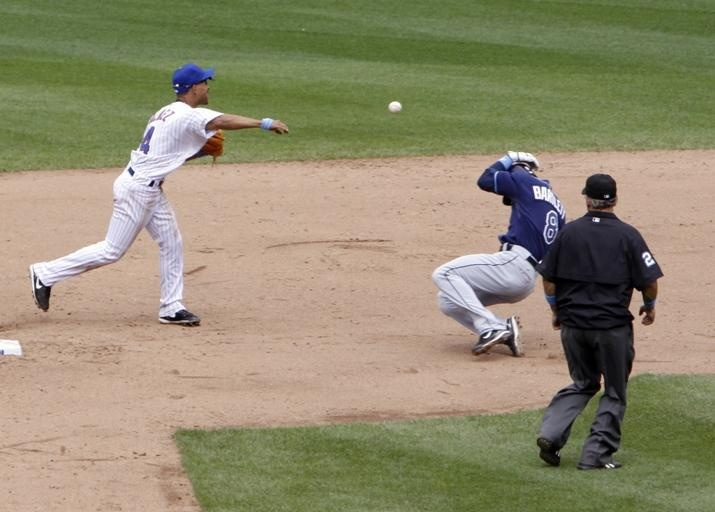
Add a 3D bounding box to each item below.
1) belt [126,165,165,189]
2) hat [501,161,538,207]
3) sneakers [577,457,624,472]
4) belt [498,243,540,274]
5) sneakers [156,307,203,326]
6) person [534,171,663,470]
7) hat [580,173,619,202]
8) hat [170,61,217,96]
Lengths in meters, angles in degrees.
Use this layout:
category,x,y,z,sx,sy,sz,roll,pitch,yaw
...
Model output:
category,x,y,z,sx,sy,sz,roll,pitch,yaw
belt,-2.420,-0.891,16.247,0.383,0.112,0.256,24,7,11
hat,1.822,-0.817,15.895,0.259,0.460,0.400,17,-7,3
sneakers,2.315,2.013,13.762,0.462,0.134,0.130,-4,-2,3
belt,1.762,-0.004,15.738,0.437,0.135,0.310,30,9,5
sneakers,-1.998,0.716,16.400,0.549,0.170,0.177,0,0,9
person,2.296,0.627,13.795,1.140,2.789,0.832,3,12,7
hat,2.335,-0.676,13.929,0.308,0.163,0.318,-3,22,-6
hat,-1.909,-2.061,16.445,0.545,0.249,0.326,-27,35,-7
